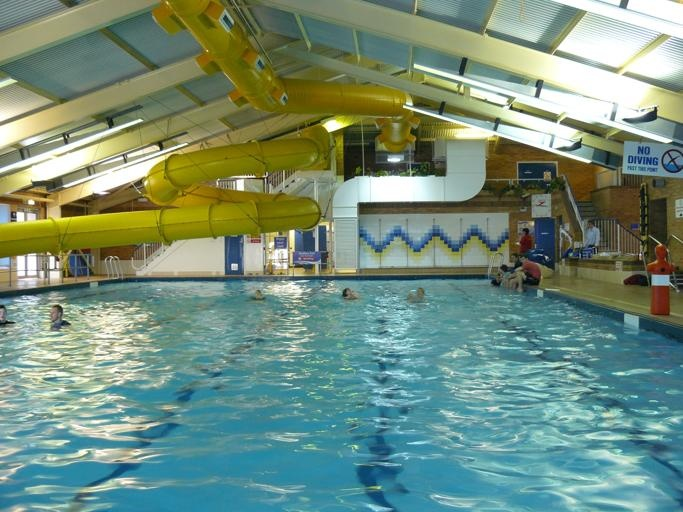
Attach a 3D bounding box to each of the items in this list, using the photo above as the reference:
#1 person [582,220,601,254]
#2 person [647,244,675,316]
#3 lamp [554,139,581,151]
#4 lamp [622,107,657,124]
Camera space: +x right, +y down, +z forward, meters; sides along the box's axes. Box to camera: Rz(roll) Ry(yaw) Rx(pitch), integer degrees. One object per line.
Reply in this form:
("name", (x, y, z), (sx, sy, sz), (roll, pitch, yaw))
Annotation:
("person", (8.720, -0.655, 17.424), (0.491, 1.133, 1.709), (-2, 4, 25))
("person", (5.474, 0.398, 8.571), (0.362, 1.166, 0.647), (-1, 5, 29))
("lamp", (5.963, -2.880, 13.089), (0.472, 0.210, 1.414), (-1, 3, 15))
("lamp", (5.117, -2.382, 8.466), (0.414, 0.089, 0.364), (-17, 10, -25))
